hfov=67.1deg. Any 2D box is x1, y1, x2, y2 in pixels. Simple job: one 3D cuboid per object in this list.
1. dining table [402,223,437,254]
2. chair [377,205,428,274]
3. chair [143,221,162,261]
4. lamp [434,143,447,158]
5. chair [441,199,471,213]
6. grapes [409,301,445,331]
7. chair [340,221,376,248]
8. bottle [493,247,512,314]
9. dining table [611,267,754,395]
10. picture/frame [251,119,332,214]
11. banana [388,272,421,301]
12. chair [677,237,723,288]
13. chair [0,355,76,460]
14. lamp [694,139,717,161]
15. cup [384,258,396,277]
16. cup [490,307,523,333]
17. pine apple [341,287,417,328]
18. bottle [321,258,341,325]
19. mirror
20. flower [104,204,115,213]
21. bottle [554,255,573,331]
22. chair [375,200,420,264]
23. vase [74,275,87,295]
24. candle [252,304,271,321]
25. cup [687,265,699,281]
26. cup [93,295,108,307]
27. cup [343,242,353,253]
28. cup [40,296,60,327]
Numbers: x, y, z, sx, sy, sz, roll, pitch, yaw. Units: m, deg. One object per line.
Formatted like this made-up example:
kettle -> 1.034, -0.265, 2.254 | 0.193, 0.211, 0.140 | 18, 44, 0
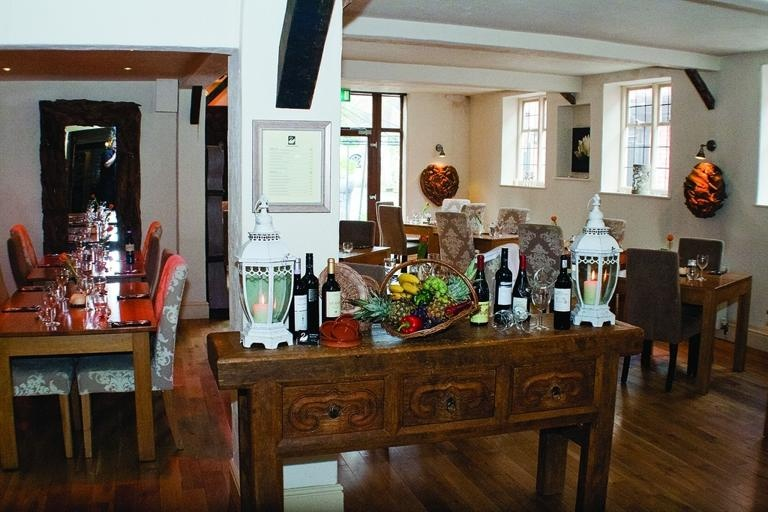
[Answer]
dining table -> 0.784, -0.421, 10.881 | 0.526, 0.446, 0.943 | -7, 14, -28
chair -> 0.461, -0.248, 10.375 | 0.642, 1.115, 0.547 | 0, 3, -20
chair -> -2.896, -0.180, 7.238 | 0.164, 0.152, 0.529 | -8, -11, -25
lamp -> 1.215, -2.284, 12.544 | 0.289, 0.389, 0.271 | -2, 3, -26
chair -> 1.383, -1.023, 11.557 | 0.493, 0.330, 0.477 | 1, 3, 20
grapes -> 0.278, 0.363, 3.477 | 0.143, 0.093, 0.198 | -18, -3, -9
chair -> -0.399, -0.307, 8.016 | 0.543, 0.347, 0.578 | -1, 7, 11
bottle -> 0.798, 0.143, 3.863 | 0.115, 0.385, 0.521 | 0, 7, 13
dining table -> 3.428, 0.786, 6.619 | 1.270, 1.174, 1.042 | -9, 11, -42
picture/frame -> -0.639, -0.624, 3.864 | 0.709, 0.787, 0.060 | -1, 8, -10
banana -> 0.135, 0.173, 3.526 | 0.066, 0.164, 0.167 | -7, -20, -24
chair -> 3.561, 0.016, 6.746 | 0.504, 0.697, 0.574 | 0, -6, 26
chair -> -2.796, 1.305, 4.623 | 0.576, 0.558, 0.559 | -15, -13, -9
lamp -> 4.233, -1.402, 7.591 | 0.242, 0.303, 0.229 | 2, 7, -22
cup -> 0.097, 0.120, 6.160 | 0.155, 0.222, 0.148 | 2, 4, 0
cup -> 0.773, 0.399, 3.644 | 0.166, 0.078, 0.125 | 12, 4, 7
pine apple -> -0.038, 0.316, 3.485 | 0.330, 0.164, 0.166 | 3, -33, 0
bottle -> -0.319, 0.197, 3.482 | 0.112, 0.386, 0.227 | -3, 7, -4
mirror -> -3.953, -1.079, 7.827 | 1.357, 2.016, 0.121 | -3, 7, -7
flower -> -3.730, -0.655, 7.910 | 0.105, 0.102, 0.110 | 22, 10, 8
bottle -> 1.146, 0.225, 3.710 | 0.112, 0.457, 0.218 | 0, 8, 17
chair -> 0.406, -0.303, 10.506 | 0.738, 1.294, 0.634 | -8, 15, -33
vase -> -2.726, 0.256, 5.187 | 0.134, 0.172, 0.156 | -1, -1, 12
candle -> -0.701, 0.326, 3.303 | 0.091, 0.098, 0.089 | -3, 9, -28
cup -> 3.368, 0.170, 6.293 | 0.137, 0.208, 0.143 | 3, 0, 0
cup -> -2.454, 0.384, 5.002 | 0.121, 0.112, 0.117 | 1, -8, 0
cup -> -0.428, -0.109, 7.196 | 0.127, 0.127, 0.121 | 1, 0, 0
cup -> -2.664, 0.444, 4.620 | 0.128, 0.271, 0.133 | 3, 19, -1
